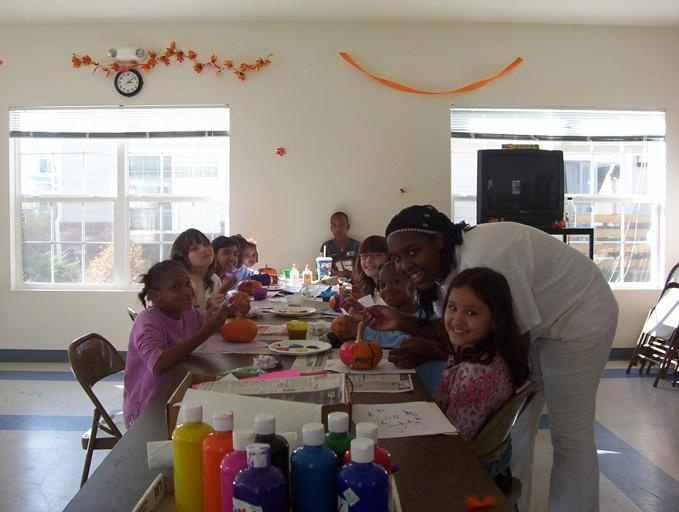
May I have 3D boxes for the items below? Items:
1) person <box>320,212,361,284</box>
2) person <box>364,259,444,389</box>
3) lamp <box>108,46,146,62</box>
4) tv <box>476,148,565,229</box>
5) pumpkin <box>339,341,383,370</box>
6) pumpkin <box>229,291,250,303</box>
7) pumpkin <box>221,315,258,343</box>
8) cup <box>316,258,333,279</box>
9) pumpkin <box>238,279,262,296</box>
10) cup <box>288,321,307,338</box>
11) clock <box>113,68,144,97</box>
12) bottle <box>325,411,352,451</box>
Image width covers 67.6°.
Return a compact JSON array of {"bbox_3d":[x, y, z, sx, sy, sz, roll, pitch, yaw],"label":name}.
[{"bbox_3d":[0.026,-0.054,4.908,0.398,0.756,0.403,-1,-4,-21],"label":"person"},{"bbox_3d":[0.254,0.259,2.427,0.425,0.329,0.817,-7,-29,-3],"label":"person"},{"bbox_3d":[-2.038,-1.921,4.840,0.308,0.150,0.114,0,3,-3],"label":"lamp"},{"bbox_3d":[1.571,-0.531,4.541,0.752,0.718,0.440,2,-19,3],"label":"tv"},{"bbox_3d":[0.078,0.339,1.835,0.107,0.107,0.110,1,2,18],"label":"pumpkin"},{"bbox_3d":[-0.543,0.209,2.713,0.073,0.078,0.076,-2,0,11],"label":"pumpkin"},{"bbox_3d":[-0.430,0.315,2.193,0.109,0.111,0.113,-1,0,8],"label":"pumpkin"},{"bbox_3d":[-0.148,0.110,4.519,0.166,0.188,0.171,0,3,0],"label":"cup"},{"bbox_3d":[-0.599,0.201,3.344,0.112,0.109,0.116,1,-3,1],"label":"pumpkin"},{"bbox_3d":[-0.180,0.305,2.132,0.065,0.058,0.073,0,-3,3],"label":"cup"},{"bbox_3d":[-2.047,-1.680,4.945,0.249,0.265,0.060,0,6,1],"label":"clock"},{"bbox_3d":[-0.005,0.401,1.151,0.072,0.083,0.075,1,2,0],"label":"bottle"}]
